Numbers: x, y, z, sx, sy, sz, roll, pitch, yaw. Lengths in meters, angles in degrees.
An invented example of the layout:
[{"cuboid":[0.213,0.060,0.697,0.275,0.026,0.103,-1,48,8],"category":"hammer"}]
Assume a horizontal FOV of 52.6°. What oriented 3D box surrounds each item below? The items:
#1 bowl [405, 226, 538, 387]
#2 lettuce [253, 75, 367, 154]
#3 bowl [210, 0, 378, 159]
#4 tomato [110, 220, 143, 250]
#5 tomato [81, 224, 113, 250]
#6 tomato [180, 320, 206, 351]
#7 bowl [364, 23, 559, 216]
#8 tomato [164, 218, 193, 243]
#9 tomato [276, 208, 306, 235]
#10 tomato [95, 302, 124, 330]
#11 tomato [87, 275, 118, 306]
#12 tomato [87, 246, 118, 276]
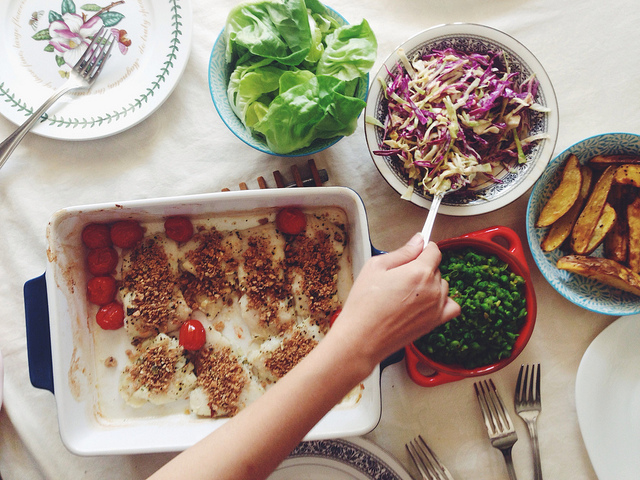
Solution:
[{"cuboid":[0.688,0.311,3.067,0.628,0.285,0.649,0,79,1],"category":"bowl"},{"cuboid":[-0.051,-0.583,2.912,0.504,0.172,0.242,-19,79,-3],"category":"lettuce"},{"cuboid":[-0.128,-0.760,2.947,0.753,0.252,0.695,0,79,1],"category":"bowl"},{"cuboid":[-0.915,-0.035,3.053,0.111,0.068,0.142,2,93,-14],"category":"tomato"},{"cuboid":[-1.053,-0.021,3.059,0.130,0.074,0.104,-10,79,-1],"category":"tomato"},{"cuboid":[-0.606,0.449,3.057,0.093,0.070,0.144,2,82,2],"category":"tomato"},{"cuboid":[0.651,-0.562,2.999,0.891,0.203,0.867,0,80,1],"category":"bowl"},{"cuboid":[-0.671,-0.052,3.077,0.124,0.074,0.104,-3,79,0],"category":"tomato"},{"cuboid":[-0.138,-0.097,3.076,0.141,0.049,0.120,0,79,1],"category":"tomato"},{"cuboid":[-1.000,0.360,3.096,0.126,0.060,0.123,-4,79,0],"category":"tomato"},{"cuboid":[-1.042,0.237,3.087,0.140,0.069,0.135,-11,79,-1],"category":"tomato"},{"cuboid":[-1.039,0.094,3.078,0.144,0.056,0.116,-12,79,-1],"category":"tomato"}]
